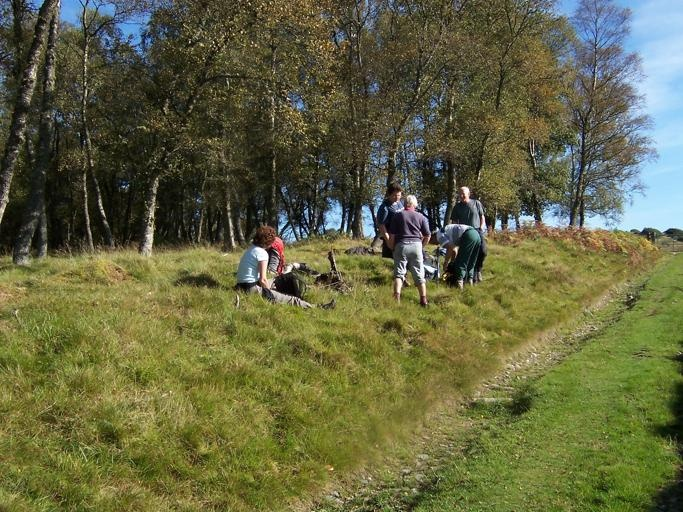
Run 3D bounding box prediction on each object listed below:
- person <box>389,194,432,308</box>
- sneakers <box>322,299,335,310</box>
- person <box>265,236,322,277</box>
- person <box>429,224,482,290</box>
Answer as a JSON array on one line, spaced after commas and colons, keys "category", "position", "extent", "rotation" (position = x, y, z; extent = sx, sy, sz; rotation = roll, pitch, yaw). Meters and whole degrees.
[{"category": "person", "position": [1.663, -0.021, 15.432], "extent": [0.904, 2.847, 0.870], "rotation": [2, -19, 2]}, {"category": "sneakers", "position": [-0.306, 1.119, 14.167], "extent": [0.270, 0.151, 0.175], "rotation": [-5, -1, 29]}, {"category": "person", "position": [-1.285, 0.039, 16.275], "extent": [1.336, 1.647, 0.748], "rotation": [-5, 23, -7]}, {"category": "person", "position": [3.225, 0.002, 17.015], "extent": [1.242, 1.764, 1.193], "rotation": [2, -2, 13]}]
